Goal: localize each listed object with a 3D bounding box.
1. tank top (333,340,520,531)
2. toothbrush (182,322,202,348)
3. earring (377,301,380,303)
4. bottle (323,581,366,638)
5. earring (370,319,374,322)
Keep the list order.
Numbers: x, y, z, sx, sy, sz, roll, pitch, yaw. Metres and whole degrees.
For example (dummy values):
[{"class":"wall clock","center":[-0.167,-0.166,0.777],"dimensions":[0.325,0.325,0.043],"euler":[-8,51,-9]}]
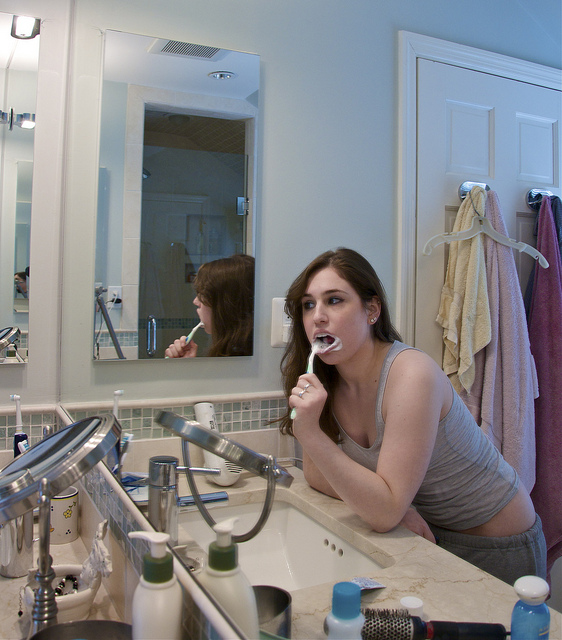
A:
[{"class":"tank top","center":[0.305,0.250,1.261],"dimensions":[0.218,0.385,0.253],"euler":[-38,4,21]},{"class":"toothbrush","center":[-0.228,0.035,1.526],"dimensions":[0.019,0.098,0.020],"euler":[33,21,7]},{"class":"earring","center":[0.210,-0.040,1.291],"dimensions":[0.005,0.003,0.002],"euler":[-1,-1,-25]},{"class":"bottle","center":[0.063,0.280,0.584],"dimensions":[0.037,0.055,0.035],"euler":[-1,-1,0]},{"class":"earring","center":[0.193,-0.001,1.279],"dimensions":[0.006,0.005,0.006],"euler":[-4,6,-31]}]
